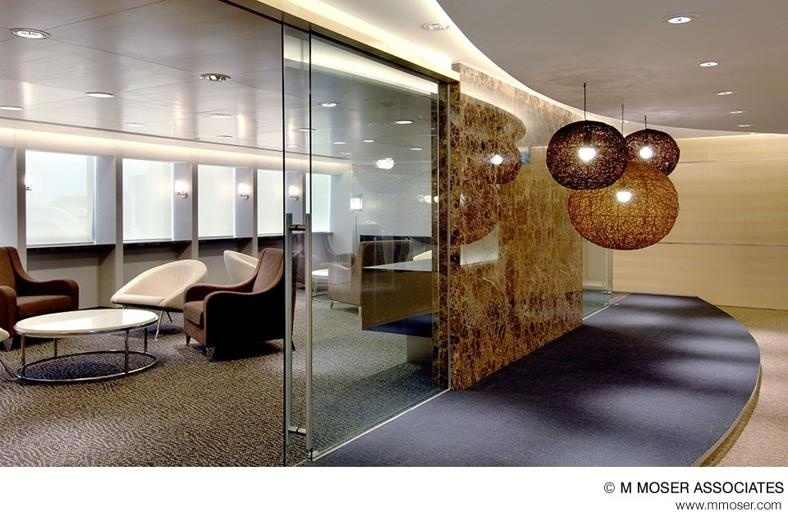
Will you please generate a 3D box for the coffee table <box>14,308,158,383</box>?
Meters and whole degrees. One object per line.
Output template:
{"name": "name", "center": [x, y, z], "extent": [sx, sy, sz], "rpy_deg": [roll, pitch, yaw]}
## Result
{"name": "coffee table", "center": [-3.664, 1.053, 5.922], "extent": [1.531, 0.596, 1.172], "rpy_deg": [1, 6, 15]}
